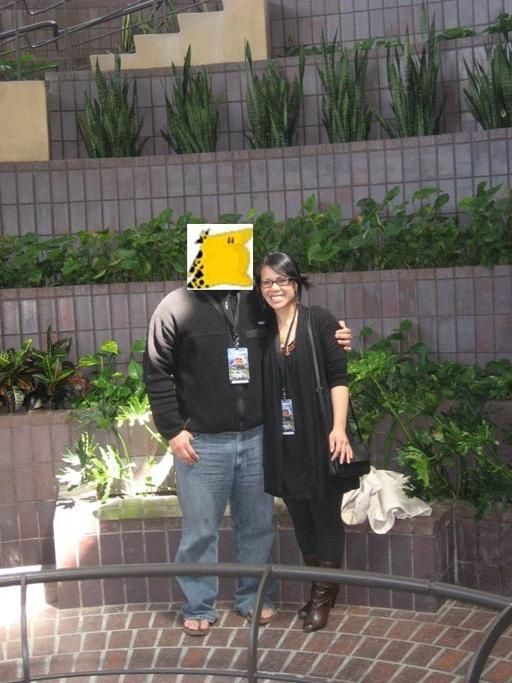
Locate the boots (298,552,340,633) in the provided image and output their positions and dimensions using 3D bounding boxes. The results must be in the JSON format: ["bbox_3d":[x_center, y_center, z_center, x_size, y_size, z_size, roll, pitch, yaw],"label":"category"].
[{"bbox_3d":[0.224,0.944,3.844,0.161,0.109,0.275,-9,6,0],"label":"boots"}]

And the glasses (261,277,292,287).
[{"bbox_3d":[0.072,-0.213,3.832,0.106,0.043,0.038,-8,7,7],"label":"glasses"}]

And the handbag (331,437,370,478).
[{"bbox_3d":[0.327,0.413,3.782,0.156,0.122,0.064,8,-25,-37],"label":"handbag"}]

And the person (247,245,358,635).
[{"bbox_3d":[0.195,0.337,3.861,0.404,1.332,0.354,-13,7,-16],"label":"person"}]
